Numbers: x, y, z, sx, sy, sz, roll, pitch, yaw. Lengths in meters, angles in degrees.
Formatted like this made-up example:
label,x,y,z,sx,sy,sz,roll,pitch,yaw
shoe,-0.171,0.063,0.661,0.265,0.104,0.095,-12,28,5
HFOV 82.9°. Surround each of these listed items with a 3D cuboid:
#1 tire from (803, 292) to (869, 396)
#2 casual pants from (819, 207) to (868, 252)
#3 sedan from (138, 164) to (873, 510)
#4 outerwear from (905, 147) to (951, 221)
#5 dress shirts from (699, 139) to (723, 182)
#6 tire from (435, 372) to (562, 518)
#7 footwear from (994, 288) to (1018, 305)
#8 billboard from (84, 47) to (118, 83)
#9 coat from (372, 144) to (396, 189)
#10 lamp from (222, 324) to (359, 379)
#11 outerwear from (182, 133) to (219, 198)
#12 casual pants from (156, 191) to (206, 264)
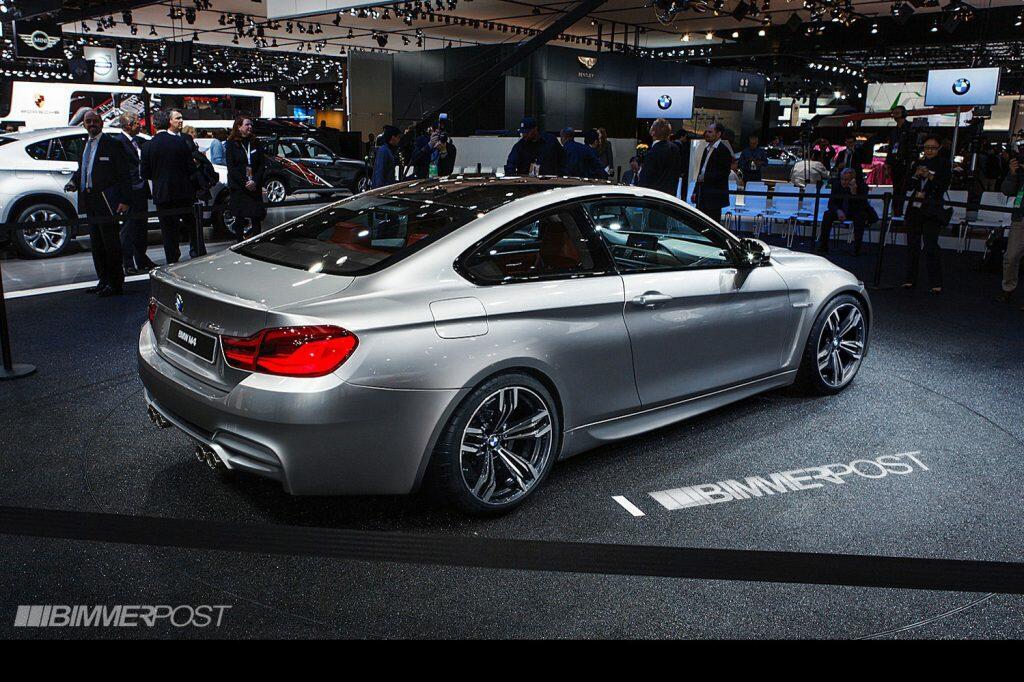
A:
label,x,y,z,sx,sy,sz,roll,pitch,yaw
tire,2.798,0.001,5.037,0.767,0.762,0.245,-15,17,-35
casual pants,7.052,-2.360,12.602,0.921,1.195,0.987,2,4,37
sedan,0.266,-0.156,4.148,4.760,1.416,2.135,-13,21,-32
outerwear,6.432,-2.450,8.874,0.485,1.010,0.753,13,23,34
dress shirts,3.515,-3.188,10.340,0.229,0.631,0.460,16,5,-30
tire,-0.108,0.580,3.317,0.794,0.793,0.256,6,10,-38
footwear,7.471,-0.664,8.760,0.181,0.223,0.534,3,5,41
billboard,-18.009,-12.086,25.416,1.143,1.491,0.727,-12,22,-33
coat,-2.477,-3.424,11.201,0.466,0.831,0.853,8,35,-2
lamp,-1.099,0.058,2.966,0.436,0.159,0.315,-3,4,5
outerwear,-5.127,-2.831,9.494,0.530,0.193,0.449,24,-31,-20
casual pants,-5.065,-1.679,8.875,0.526,0.983,0.236,-9,46,-28
